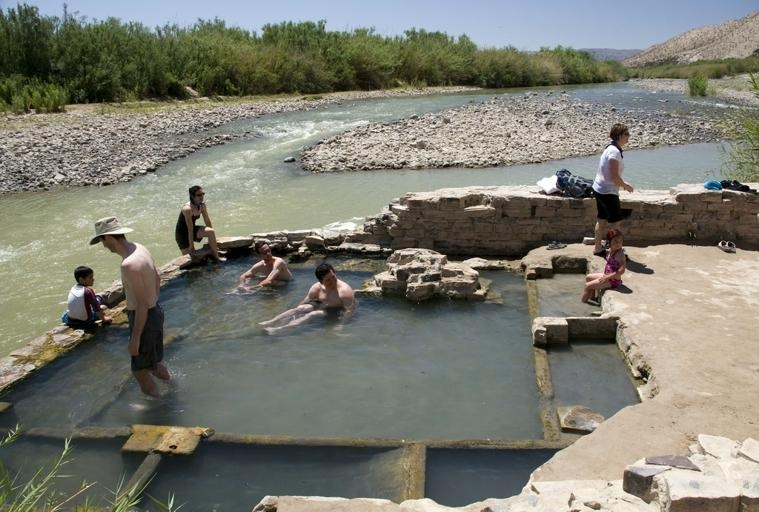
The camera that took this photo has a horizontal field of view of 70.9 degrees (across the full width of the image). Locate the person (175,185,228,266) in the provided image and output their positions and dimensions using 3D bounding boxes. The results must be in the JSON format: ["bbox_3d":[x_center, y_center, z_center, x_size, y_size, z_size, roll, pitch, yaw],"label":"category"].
[{"bbox_3d":[-4.289,-0.708,12.261,0.889,1.765,0.854,-15,23,-18],"label":"person"}]

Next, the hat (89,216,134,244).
[{"bbox_3d":[-4.084,-0.376,7.917,0.510,0.467,0.842,-16,21,-26],"label":"hat"}]

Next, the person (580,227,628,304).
[{"bbox_3d":[4.190,0.205,9.964,0.685,1.304,0.800,3,23,24],"label":"person"}]

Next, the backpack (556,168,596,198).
[{"bbox_3d":[4.383,-1.614,12.023,0.846,0.527,0.511,7,24,31],"label":"backpack"}]

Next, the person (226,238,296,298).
[{"bbox_3d":[-2.385,0.346,11.554,0.889,0.789,1.399,-2,-1,30],"label":"person"}]

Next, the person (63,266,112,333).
[{"bbox_3d":[-5.384,0.765,10.052,1.070,1.033,0.986,-5,7,-43],"label":"person"}]

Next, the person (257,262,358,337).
[{"bbox_3d":[-1.370,0.877,9.975,1.263,1.118,2.045,16,23,39],"label":"person"}]
